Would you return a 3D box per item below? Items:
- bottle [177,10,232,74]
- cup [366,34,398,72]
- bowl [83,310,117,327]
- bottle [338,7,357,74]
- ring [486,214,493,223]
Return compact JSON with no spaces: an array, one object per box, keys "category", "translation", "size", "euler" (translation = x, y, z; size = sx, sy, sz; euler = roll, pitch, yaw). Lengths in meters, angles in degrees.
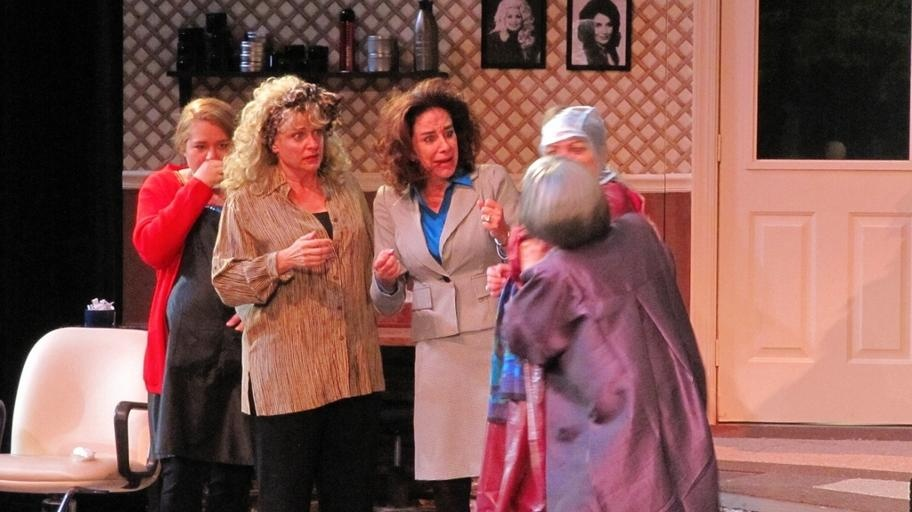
[{"category":"bottle","translation":[-1.697,-1.445,6.781],"size":[0.355,0.379,0.087],"euler":[-1,3,3]},{"category":"cup","translation":[-0.487,-1.346,6.723],"size":[0.235,0.253,0.238],"euler":[0,4,0]},{"category":"bowl","translation":[-2.142,0.381,6.057],"size":[0.123,0.070,0.120],"euler":[1,-1,0]},{"category":"bottle","translation":[-0.723,-1.444,6.736],"size":[0.106,0.428,0.092],"euler":[-2,3,-11]},{"category":"ring","translation":[0.163,-0.184,4.818],"size":[0.028,0.038,0.012],"euler":[5,2,6]}]
